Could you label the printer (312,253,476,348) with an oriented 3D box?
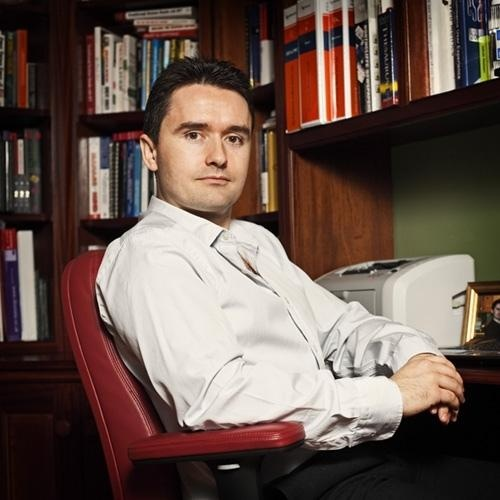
[{"bbox_3d":[0.442,0.055,1.678,0.268,0.255,0.383,-14,7,-40],"label":"printer"}]
